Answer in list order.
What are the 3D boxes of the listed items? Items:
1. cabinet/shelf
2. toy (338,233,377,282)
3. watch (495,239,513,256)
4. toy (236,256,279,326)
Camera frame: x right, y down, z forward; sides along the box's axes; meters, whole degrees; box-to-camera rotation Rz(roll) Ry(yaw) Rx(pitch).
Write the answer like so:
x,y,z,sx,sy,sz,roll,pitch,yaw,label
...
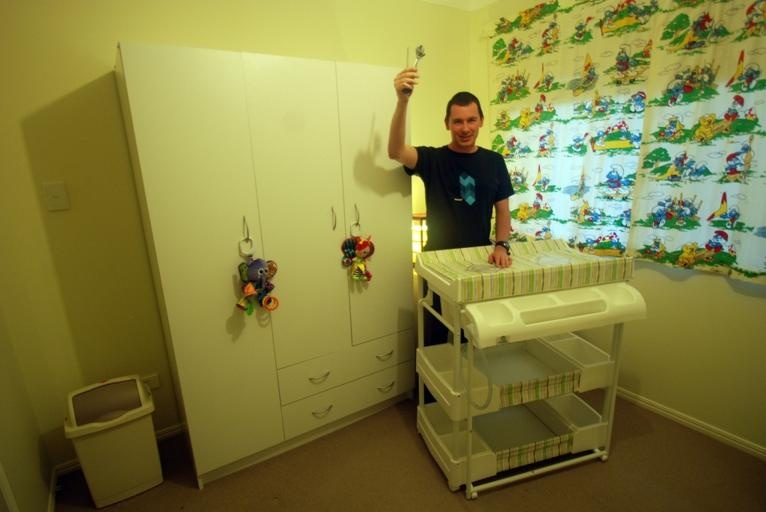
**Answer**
x,y,z,sx,sy,sz,roll,pitch,yaw,label
-0.068,0.182,3.395,2.518,2.379,1.296,-7,15,-26,cabinet/shelf
-0.179,0.001,3.545,0.283,0.350,0.090,4,9,-2,toy
0.759,-0.059,3.400,0.082,0.098,0.054,18,-21,-40,watch
-0.776,0.196,3.287,0.358,0.456,0.161,-7,17,-40,toy
